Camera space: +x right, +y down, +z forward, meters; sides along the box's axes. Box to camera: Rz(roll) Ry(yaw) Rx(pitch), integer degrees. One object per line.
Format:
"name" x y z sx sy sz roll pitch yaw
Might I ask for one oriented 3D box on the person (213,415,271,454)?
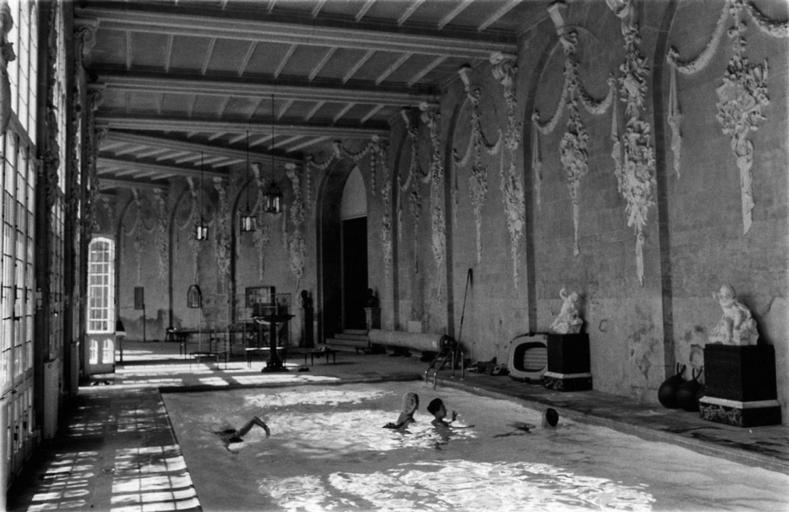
"person" -2.717 3.075 12.368 1.025 0.488 1.404 -1 -6 -7

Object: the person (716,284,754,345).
"person" 5.609 0.967 11.516 0.561 0.982 0.477 -4 -6 27

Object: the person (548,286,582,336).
"person" 3.700 1.187 15.149 0.810 0.992 0.731 -7 2 -28

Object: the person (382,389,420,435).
"person" 0.090 2.883 13.090 0.619 0.640 0.926 -1 -5 -2
